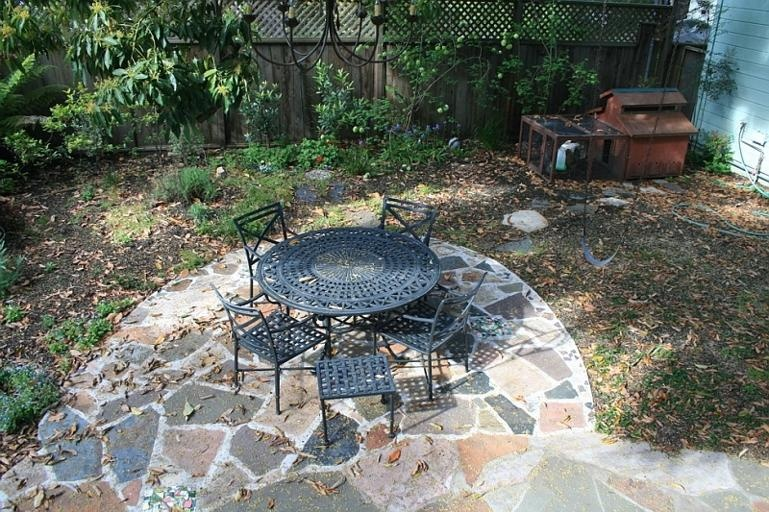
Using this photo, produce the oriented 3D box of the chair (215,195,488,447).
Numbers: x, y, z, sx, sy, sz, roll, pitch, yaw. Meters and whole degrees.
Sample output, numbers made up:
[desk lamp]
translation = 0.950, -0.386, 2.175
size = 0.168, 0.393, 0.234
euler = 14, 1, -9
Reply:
[chair]
translation = -0.406, 0.490, 5.147
size = 2.323, 1.302, 2.398
euler = -10, 32, -16
